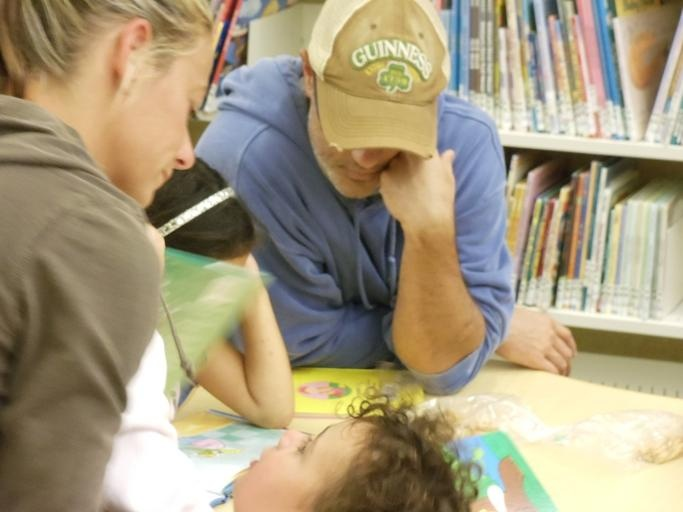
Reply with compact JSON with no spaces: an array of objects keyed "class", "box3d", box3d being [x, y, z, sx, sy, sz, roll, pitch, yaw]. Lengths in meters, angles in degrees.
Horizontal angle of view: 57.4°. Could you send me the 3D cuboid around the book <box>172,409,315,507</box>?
[{"class":"book","box3d":[-0.172,0.364,1.106,0.154,0.048,0.171,12,14,33]}]
